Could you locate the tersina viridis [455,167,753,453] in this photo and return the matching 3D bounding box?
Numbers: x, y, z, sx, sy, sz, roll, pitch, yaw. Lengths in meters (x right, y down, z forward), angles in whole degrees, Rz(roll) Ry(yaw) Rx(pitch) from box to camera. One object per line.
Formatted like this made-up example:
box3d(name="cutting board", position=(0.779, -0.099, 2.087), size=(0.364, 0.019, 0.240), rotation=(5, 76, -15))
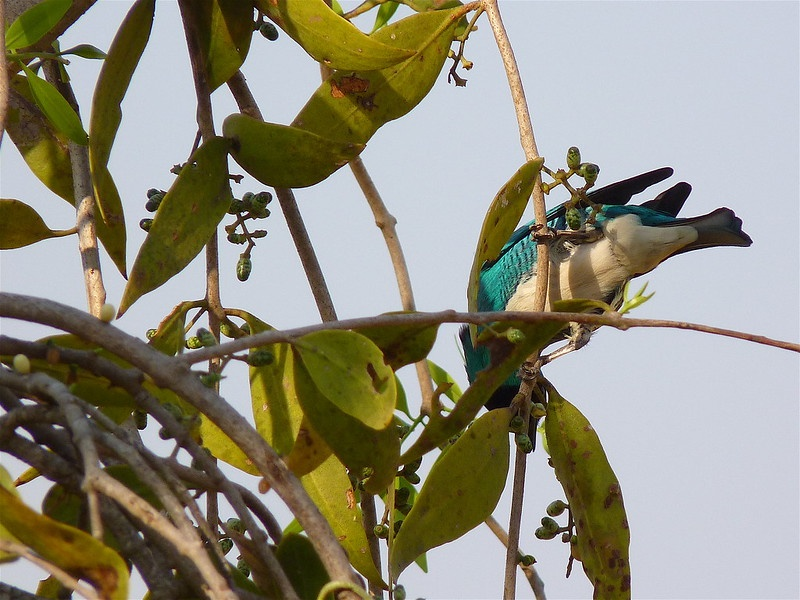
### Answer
box3d(name="tersina viridis", position=(0.332, 0.018, 2.312), size=(0.466, 0.174, 0.302), rotation=(-18, -82, -19))
